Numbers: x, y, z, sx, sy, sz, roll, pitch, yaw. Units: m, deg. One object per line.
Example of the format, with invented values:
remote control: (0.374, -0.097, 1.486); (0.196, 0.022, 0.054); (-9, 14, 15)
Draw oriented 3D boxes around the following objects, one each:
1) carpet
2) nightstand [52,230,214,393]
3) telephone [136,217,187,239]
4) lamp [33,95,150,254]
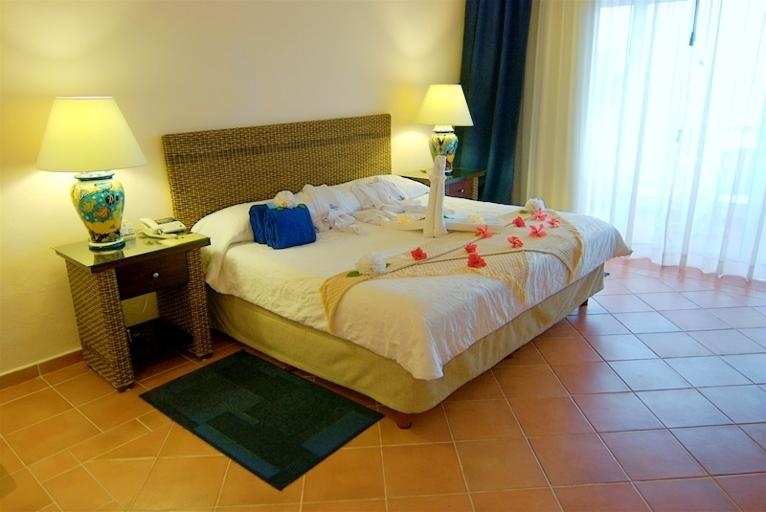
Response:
carpet: (-0.757, 1.021, 3.263); (1.032, 0.009, 0.632); (18, 28, 37)
nightstand: (-1.795, 0.348, 3.747); (0.659, 0.920, 0.803); (15, 24, 37)
telephone: (-1.618, -0.198, 3.709); (0.273, 0.104, 0.204); (-20, 42, -30)
lamp: (-1.903, -0.534, 3.366); (0.624, 0.973, 0.313); (-9, 25, -20)
